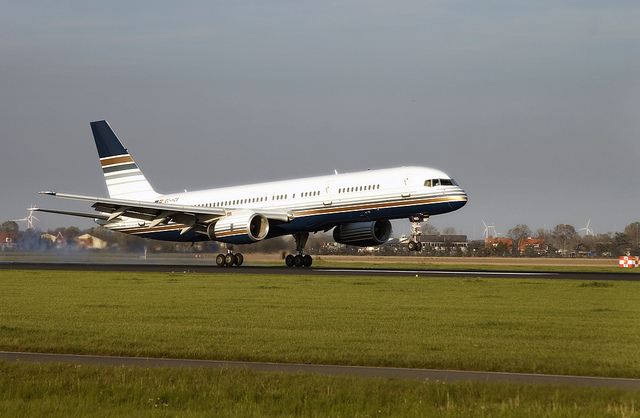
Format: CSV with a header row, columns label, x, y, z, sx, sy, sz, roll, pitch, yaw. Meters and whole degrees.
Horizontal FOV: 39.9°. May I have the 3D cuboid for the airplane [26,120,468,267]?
label,x,y,z,sx,sy,sz,roll,pitch,yaw
airplane,-5.098,-1.873,55.830,28.688,10.839,15.237,-2,-6,19
